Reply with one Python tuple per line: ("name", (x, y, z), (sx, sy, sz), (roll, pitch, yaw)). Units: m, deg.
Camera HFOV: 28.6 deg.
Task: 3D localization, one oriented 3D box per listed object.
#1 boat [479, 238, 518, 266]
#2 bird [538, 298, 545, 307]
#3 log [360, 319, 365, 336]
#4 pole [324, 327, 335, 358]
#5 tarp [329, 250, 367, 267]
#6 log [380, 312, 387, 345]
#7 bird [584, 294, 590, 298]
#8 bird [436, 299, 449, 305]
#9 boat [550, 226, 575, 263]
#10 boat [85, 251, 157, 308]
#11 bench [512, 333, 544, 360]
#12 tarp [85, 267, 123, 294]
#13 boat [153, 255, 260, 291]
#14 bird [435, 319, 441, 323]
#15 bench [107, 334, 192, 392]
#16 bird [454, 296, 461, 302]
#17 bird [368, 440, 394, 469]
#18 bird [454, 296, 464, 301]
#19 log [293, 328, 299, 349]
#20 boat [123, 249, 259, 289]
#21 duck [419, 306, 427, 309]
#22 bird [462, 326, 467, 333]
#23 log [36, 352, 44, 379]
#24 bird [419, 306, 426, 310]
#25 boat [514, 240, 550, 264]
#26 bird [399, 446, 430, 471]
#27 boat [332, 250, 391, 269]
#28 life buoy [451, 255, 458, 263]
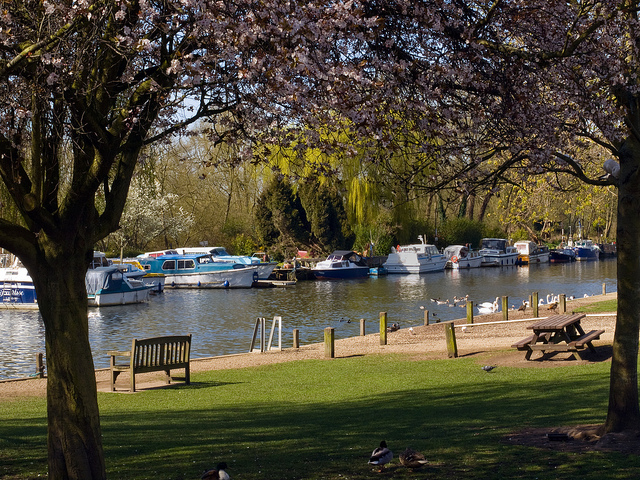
("boat", (13.910, 1.073, 98.934), (2.279, 1.514, 4.048), (-5, -3, 19))
("bird", (9.088, 2.665, 51.740), (0.134, 0.417, 0.173), (13, 6, 30))
("log", (1.321, 2.881, 40.417), (0.123, 0.531, 0.442), (-3, -2, -4))
("pole", (0.226, 2.893, 34.550), (0.260, 0.808, 0.372), (-3, -2, -4))
("tarp", (1.870, 1.199, 79.455), (1.089, 0.496, 1.498), (14, 7, 38))
("log", (1.844, 2.736, 37.689), (0.215, 0.969, 0.457), (-4, -2, 5))
("bird", (11.979, 2.585, 56.644), (0.281, 0.140, 0.199), (13, 5, 2))
("bird", (5.411, 2.866, 55.741), (0.567, 0.228, 0.385), (-1, 5, 7))
("boat", (21.287, 0.564, 109.624), (1.392, 2.658, 4.438), (8, 10, 34))
("boat", (-10.014, 2.319, 61.238), (2.405, 1.646, 3.853), (-1, 0, 11))
("bench", (5.187, 2.725, 31.653), (0.629, 0.458, 1.339), (-4, -3, 10))
("tarp", (-9.938, 1.972, 57.299), (1.890, 1.254, 3.474), (-1, -1, -1))
("boat", (-5.915, 2.214, 73.301), (7.480, 1.952, 2.279), (1, 5, 25))
("bird", (4.297, 3.041, 46.185), (0.128, 0.188, 0.113), (1, 2, 6))
("bench", (-4.095, 2.972, 30.124), (0.835, 1.337, 2.157), (2, 1, 35))
("bird", (6.159, 2.765, 56.546), (0.116, 0.311, 0.306), (-6, 0, -38))
("bird", (1.068, 3.811, 22.001), (0.269, 0.332, 0.531), (4, 6, 33))
("bird", (6.278, 2.778, 57.187), (0.318, 0.122, 0.318), (6, -1, -29))
("log", (-0.763, 3.030, 37.556), (0.159, 0.510, 0.635), (-3, -3, -4))
("boat", (-8.272, 1.970, 74.406), (9.262, 2.106, 2.377), (-2, 7, 14))
("duck", (4.344, 2.930, 53.454), (0.197, 0.080, 0.128), (11, 28, 36))
("bird", (4.694, 3.001, 41.042), (0.116, 0.162, 0.166), (-2, 14, -1))
("log", (-7.240, 3.276, 32.167), (0.192, 0.642, 0.740), (-3, -3, -13))
("bird", (4.298, 2.940, 53.195), (0.235, 0.117, 0.323), (2, 0, 20))
("boat", (17.365, 1.132, 104.608), (1.465, 1.800, 4.526), (2, 7, 33))
("bird", (1.607, 3.838, 21.786), (0.288, 0.325, 0.532), (-1, 1, -30))
("boat", (2.509, 1.405, 81.395), (0.719, 0.727, 3.553), (4, -7, 44))
("life buoy", (9.847, 1.527, 92.688), (0.465, 0.472, 0.140), (4, -6, 16))
